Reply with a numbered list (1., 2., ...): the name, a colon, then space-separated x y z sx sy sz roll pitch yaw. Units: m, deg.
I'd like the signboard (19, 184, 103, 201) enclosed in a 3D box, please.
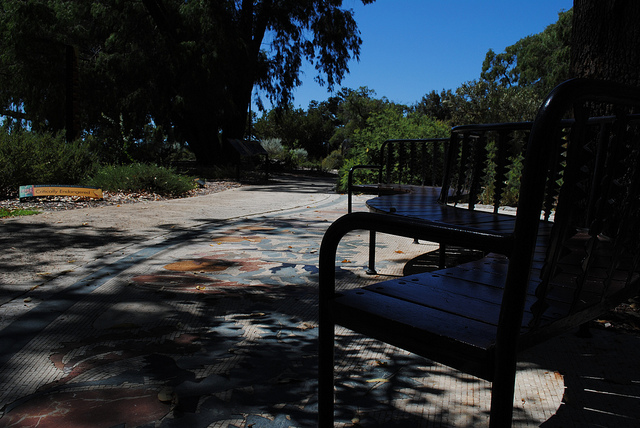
1. signboard: -6.349 -0.560 10.058 1.718 0.357 0.591 -6 13 -34
